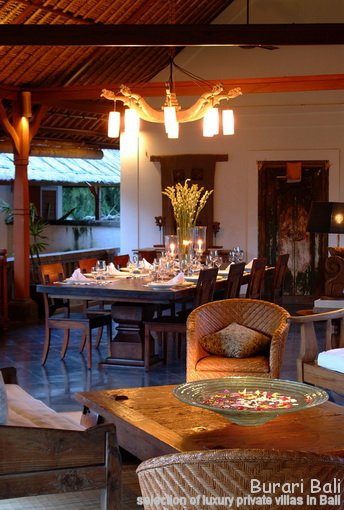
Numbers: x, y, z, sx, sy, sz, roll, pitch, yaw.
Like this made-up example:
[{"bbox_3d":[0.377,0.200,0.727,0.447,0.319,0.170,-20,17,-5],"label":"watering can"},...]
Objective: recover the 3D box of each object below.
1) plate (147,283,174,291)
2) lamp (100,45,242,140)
[{"bbox_3d":[-0.117,0.293,4.375,0.227,0.056,0.192,0,2,-2],"label":"plate"},{"bbox_3d":[-0.001,-1.871,5.411,1.516,0.890,1.493,6,21,22],"label":"lamp"}]
